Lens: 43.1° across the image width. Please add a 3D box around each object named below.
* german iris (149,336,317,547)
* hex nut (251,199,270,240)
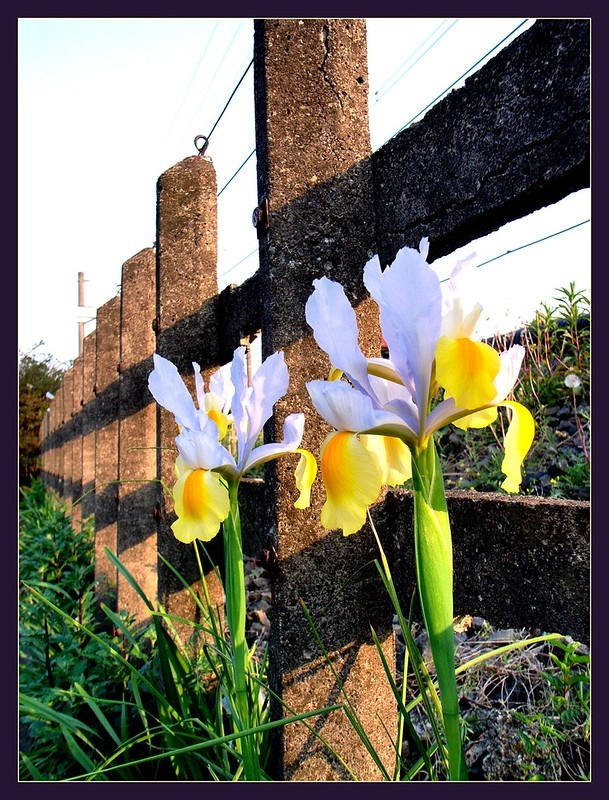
[{"bbox_3d":[-0.144,0.127,1.707,0.295,0.458,0.364,-3,-14,31],"label":"german iris"},{"bbox_3d":[-0.114,-0.484,2.100,0.035,0.116,0.126,-2,-5,-10],"label":"hex nut"}]
